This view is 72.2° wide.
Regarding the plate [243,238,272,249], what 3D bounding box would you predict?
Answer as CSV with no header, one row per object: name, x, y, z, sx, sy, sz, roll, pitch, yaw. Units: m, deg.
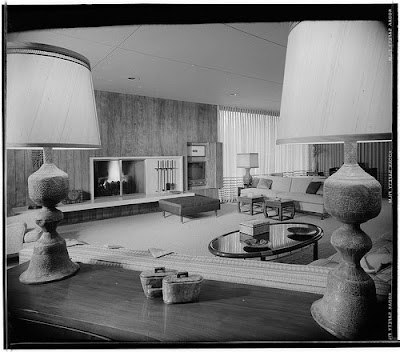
plate,0.515,0.607,2.456,0.236,0.024,0.188,2,6,10

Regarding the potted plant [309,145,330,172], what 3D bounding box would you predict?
potted plant,3.871,-0.617,9.195,0.467,0.644,0.496,3,-2,-3

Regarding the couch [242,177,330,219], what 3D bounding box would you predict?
couch,1.863,0.397,5.992,0.655,0.760,2.041,3,1,-36

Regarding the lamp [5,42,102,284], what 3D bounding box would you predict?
lamp,-0.666,-0.045,1.280,0.379,1.064,0.263,-3,7,-30

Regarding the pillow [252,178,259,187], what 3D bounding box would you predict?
pillow,1.391,0.160,6.922,0.058,0.215,0.192,15,-4,37

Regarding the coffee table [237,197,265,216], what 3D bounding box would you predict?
coffee table,1.081,0.531,5.576,0.418,0.348,0.419,-5,6,-37

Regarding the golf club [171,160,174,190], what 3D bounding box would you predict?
golf club,-0.617,-0.026,6.234,0.080,0.653,0.083,-3,7,-27

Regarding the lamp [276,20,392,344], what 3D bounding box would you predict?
lamp,0.479,0.000,1.021,0.368,1.165,0.257,5,8,32
